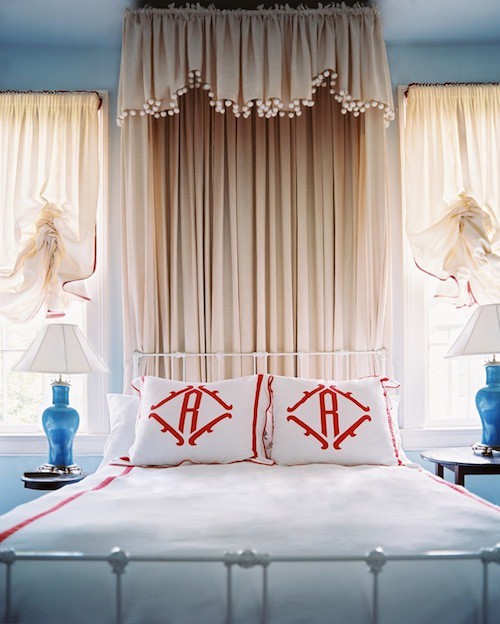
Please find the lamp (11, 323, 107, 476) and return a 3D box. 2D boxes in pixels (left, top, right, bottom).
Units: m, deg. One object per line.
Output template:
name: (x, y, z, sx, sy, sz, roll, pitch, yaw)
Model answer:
lamp: (-0.699, 0.339, 2.506, 0.311, 0.560, 0.330, -2, -4, 20)
